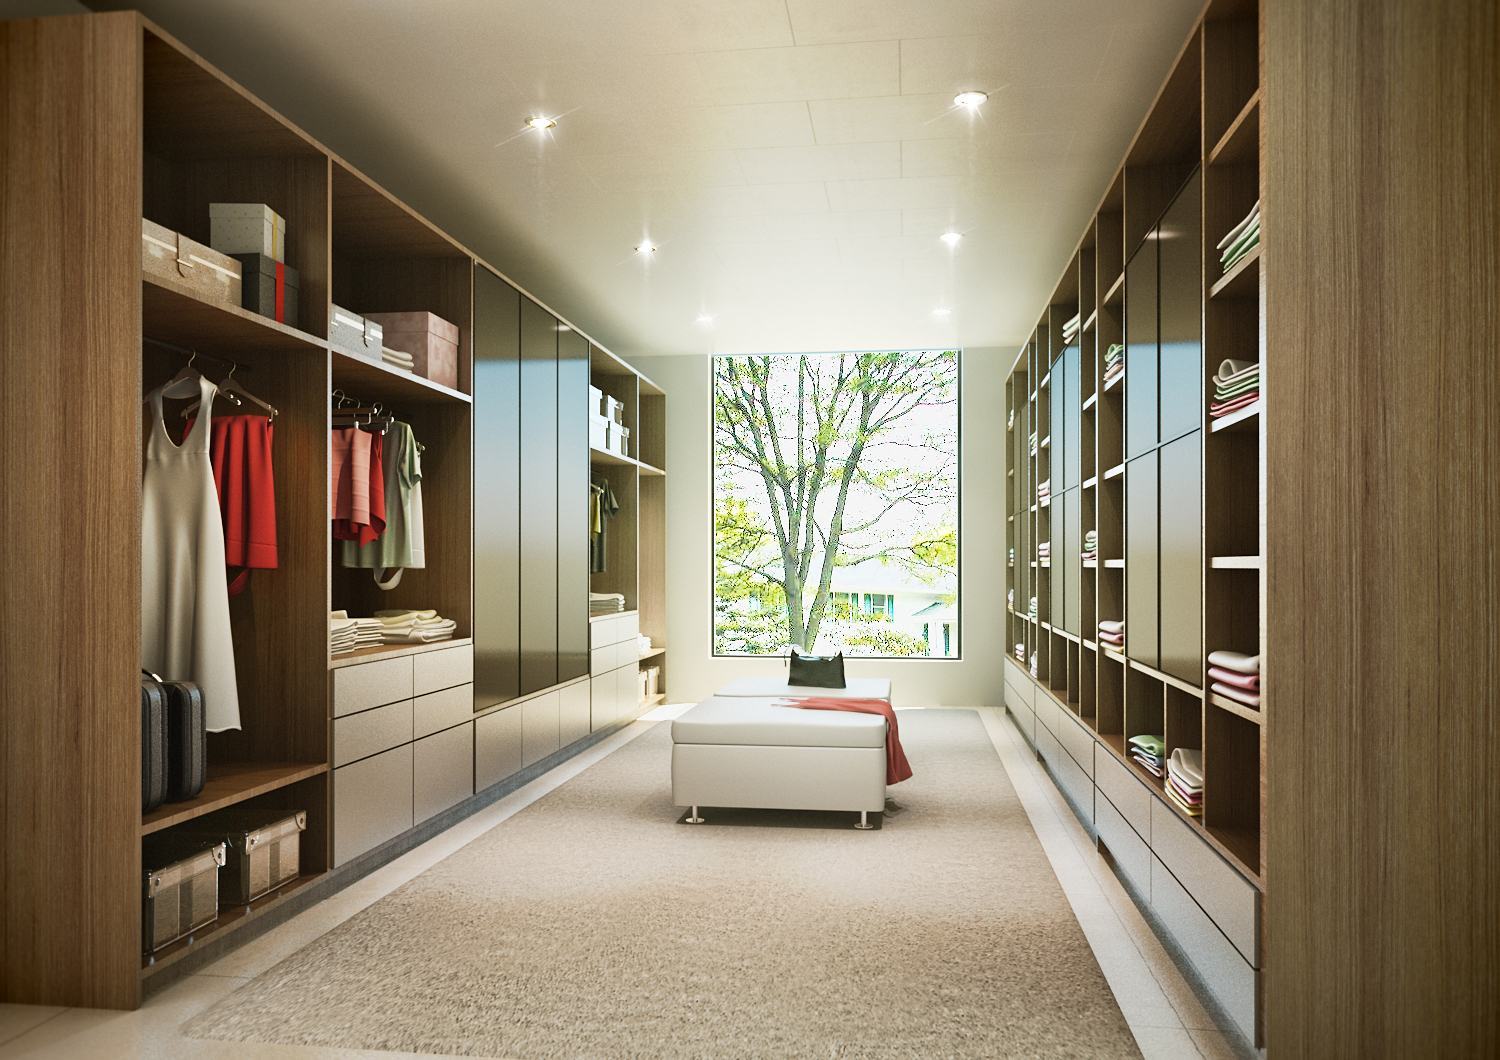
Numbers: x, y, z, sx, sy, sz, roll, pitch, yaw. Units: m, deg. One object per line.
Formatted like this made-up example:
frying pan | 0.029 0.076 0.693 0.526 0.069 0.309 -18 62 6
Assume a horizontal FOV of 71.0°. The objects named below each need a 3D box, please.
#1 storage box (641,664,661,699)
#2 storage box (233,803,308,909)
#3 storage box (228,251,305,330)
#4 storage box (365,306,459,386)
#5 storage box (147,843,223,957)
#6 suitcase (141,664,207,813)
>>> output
storage box | -0.819 1.312 8.949 0.182 0.238 0.330 -1 -3 5
storage box | -1.842 1.261 4.064 0.207 0.222 0.332 -2 -3 6
storage box | -1.893 -0.948 4.177 0.199 0.257 0.385 -1 -2 5
storage box | -1.702 -0.878 5.413 0.301 0.395 0.571 0 2 3
storage box | -2.071 1.296 3.717 0.243 0.279 0.432 -2 -3 1
suitcase | -2.017 0.751 3.705 0.193 0.465 0.297 -2 3 -28
